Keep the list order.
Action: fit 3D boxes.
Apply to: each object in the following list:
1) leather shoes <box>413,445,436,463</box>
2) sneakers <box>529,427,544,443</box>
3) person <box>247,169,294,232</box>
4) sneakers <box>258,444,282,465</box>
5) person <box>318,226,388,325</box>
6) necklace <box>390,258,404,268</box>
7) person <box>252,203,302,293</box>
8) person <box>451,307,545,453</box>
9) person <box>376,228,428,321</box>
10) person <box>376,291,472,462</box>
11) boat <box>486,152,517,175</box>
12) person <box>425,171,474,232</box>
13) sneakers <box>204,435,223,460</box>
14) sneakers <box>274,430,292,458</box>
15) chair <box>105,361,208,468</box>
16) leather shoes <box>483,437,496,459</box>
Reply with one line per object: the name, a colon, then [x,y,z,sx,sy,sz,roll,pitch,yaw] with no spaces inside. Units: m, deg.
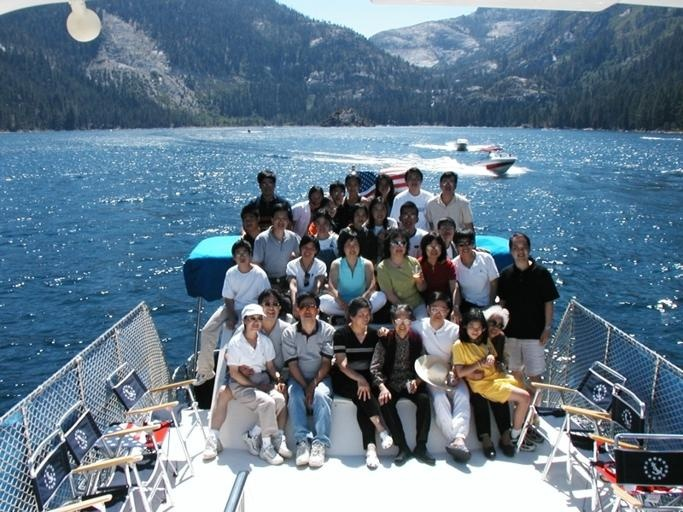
leather shoes: [1.012,2.414,6.669,0.306,0.224,0.112,2,0,29]
sneakers: [2.484,2.290,6.930,0.079,0.089,0.222,-26,43,-15]
person: [-1.240,-0.659,9.416,0.869,1.615,0.477,1,1,8]
sneakers: [-0.857,2.420,6.583,0.305,0.139,0.144,18,21,19]
person: [0.129,0.251,7.974,1.039,1.227,0.795,-2,12,4]
necklace: [0.812,0.103,7.899,0.143,0.141,0.034,2,4,-5]
person: [-0.939,-0.093,8.420,0.904,1.464,0.854,-4,18,-26]
person: [1.950,1.533,6.934,0.701,1.740,0.953,-13,9,-36]
person: [0.915,0.334,7.815,0.828,1.351,0.961,0,9,25]
person: [1.006,1.553,6.861,0.994,1.129,2.098,0,40,-5]
boat: [13.009,-7.381,44.369,0.760,1.552,2.805,-10,22,-23]
person: [1.770,-0.805,9.002,0.847,1.220,0.760,1,6,16]
sneakers: [-1.604,2.390,6.727,0.122,0.206,0.348,0,-5,6]
sneakers: [-0.750,2.313,6.743,0.134,0.174,0.399,6,14,-42]
chair: [-2.505,2.095,6.990,1.054,1.125,1.044,-3,22,-39]
leather shoes: [1.821,2.363,6.667,0.097,0.074,0.269,-3,36,1]
